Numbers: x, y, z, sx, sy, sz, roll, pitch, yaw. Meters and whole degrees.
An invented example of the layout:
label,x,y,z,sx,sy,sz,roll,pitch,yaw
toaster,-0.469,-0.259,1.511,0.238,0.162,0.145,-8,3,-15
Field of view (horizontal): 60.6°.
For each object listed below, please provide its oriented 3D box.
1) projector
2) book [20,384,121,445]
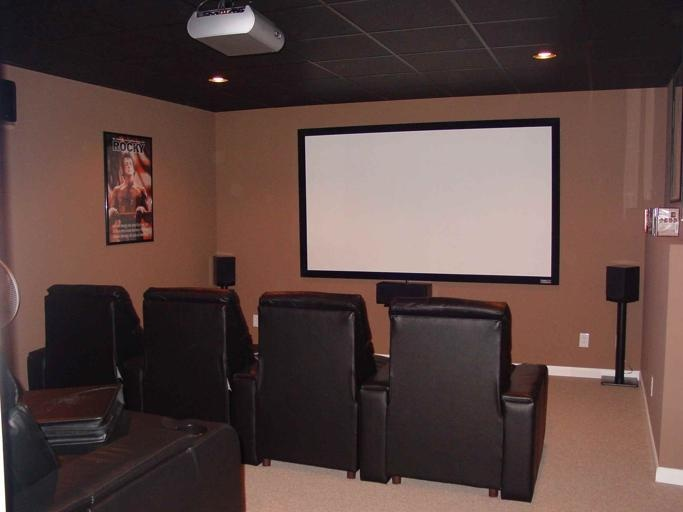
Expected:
label,x,y,z,sx,sy,sz,roll,pitch,yaw
projector,-0.668,-1.450,3.669,0.409,0.258,0.464,4,8,27
book,-0.800,0.477,1.738,0.188,0.050,0.202,-1,9,-12
